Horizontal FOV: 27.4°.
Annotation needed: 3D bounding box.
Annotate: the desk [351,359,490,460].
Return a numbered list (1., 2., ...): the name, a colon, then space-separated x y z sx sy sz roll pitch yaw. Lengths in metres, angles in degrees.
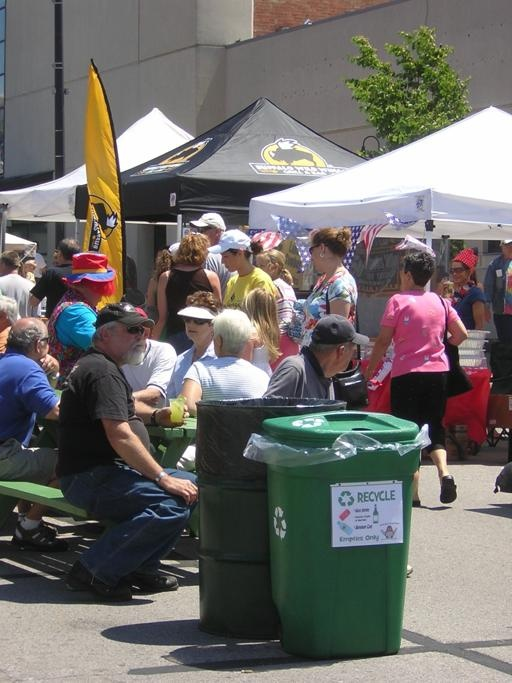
1. desk: 1.543 0.406 9.674 1.135 0.544 1.050 0 14 -21

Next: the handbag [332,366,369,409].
1. handbag: 0.472 0.236 5.400 0.225 0.225 0.171 -1 -4 -15

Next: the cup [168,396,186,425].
1. cup: -0.416 0.368 5.480 0.133 0.155 0.131 -1 1 0

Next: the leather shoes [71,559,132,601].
1. leather shoes: -0.745 1.144 5.065 0.388 0.237 0.135 2 8 0

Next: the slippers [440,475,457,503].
1. slippers: 1.296 1.003 7.072 0.094 0.206 0.145 1 2 7

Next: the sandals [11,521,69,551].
1. sandals: -1.241 1.127 6.041 0.332 0.195 0.138 2 -1 -5

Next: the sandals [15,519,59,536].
1. sandals: -1.261 1.066 5.993 0.245 0.096 0.094 2 1 -7

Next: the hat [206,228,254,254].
1. hat: -0.209 -0.813 8.397 0.285 0.150 0.180 1 1 2

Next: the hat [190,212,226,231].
1. hat: -0.429 -1.118 9.572 0.291 0.148 0.182 3 -1 -25

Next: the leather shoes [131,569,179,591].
1. leather shoes: -0.503 1.173 5.206 0.232 0.132 0.096 -2 6 -13

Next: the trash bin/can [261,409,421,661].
1. trash bin/can: 0.350 0.780 4.545 0.886 1.245 0.801 1 -1 -11

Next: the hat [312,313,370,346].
1. hat: 0.393 -0.037 4.797 0.246 0.116 0.148 -7 15 -18
